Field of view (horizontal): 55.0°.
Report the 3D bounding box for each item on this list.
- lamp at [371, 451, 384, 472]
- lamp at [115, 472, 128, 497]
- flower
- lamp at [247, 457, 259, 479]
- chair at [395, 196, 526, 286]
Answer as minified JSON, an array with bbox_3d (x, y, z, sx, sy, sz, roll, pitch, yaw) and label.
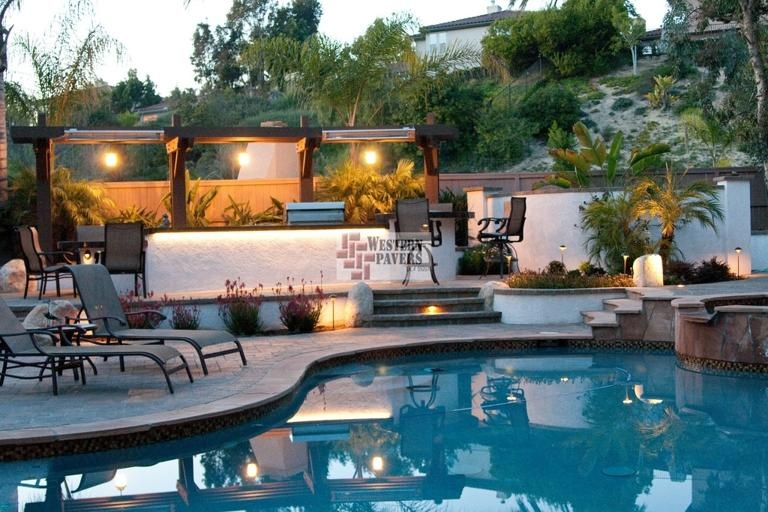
[{"bbox_3d":[-0.083,2.591,9.197,0.104,0.199,0.123,-4,-5,40],"label":"lamp"},{"bbox_3d":[-3.163,2.751,8.862,0.139,0.332,0.148,0,5,-2],"label":"lamp"},{"bbox_3d":[-2.240,0.944,14.567,1.558,0.917,1.120,0,-2,-1],"label":"flower"},{"bbox_3d":[-1.641,2.645,9.141,0.124,0.227,0.116,1,-5,-12],"label":"lamp"},{"bbox_3d":[1.911,-0.409,17.767,3.929,2.991,1.529,0,-1,-16],"label":"chair"}]
